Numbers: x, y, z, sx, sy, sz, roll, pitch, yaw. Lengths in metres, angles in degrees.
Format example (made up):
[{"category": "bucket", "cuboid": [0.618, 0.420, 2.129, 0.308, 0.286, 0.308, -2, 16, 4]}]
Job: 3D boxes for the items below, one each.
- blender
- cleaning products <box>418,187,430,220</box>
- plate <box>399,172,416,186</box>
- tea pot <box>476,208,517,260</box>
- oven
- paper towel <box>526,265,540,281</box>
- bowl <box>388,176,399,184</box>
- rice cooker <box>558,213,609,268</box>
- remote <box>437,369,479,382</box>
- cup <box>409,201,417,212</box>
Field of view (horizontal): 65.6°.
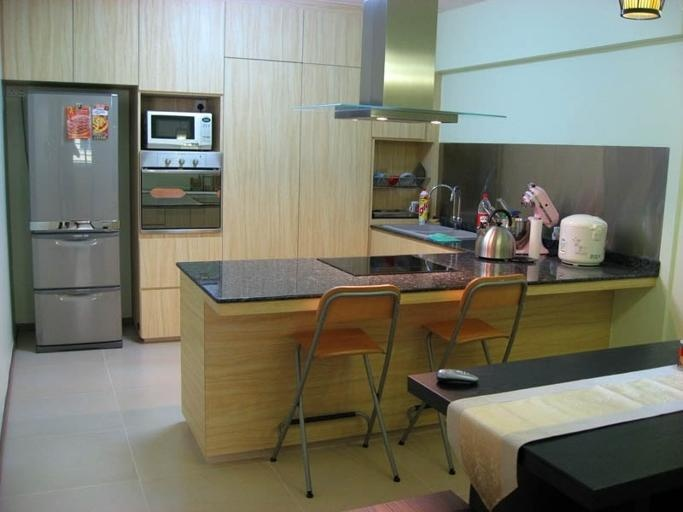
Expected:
[{"category": "blender", "cuboid": [1.505, -0.337, 4.144, 0.287, 0.609, 0.377, -2, 12, -26]}, {"category": "cleaning products", "cuboid": [0.880, -0.537, 5.662, 0.122, 0.336, 0.362, 3, 11, 9]}, {"category": "plate", "cuboid": [0.735, -0.835, 5.808, 0.199, 0.147, 0.080, -6, 13, -31]}, {"category": "tea pot", "cuboid": [1.154, -0.153, 3.925, 0.262, 0.402, 0.280, 6, 10, -1]}, {"category": "oven", "cuboid": [-1.454, -0.580, 4.806, 0.699, 0.711, 0.421, -2, 10, -30]}, {"category": "paper towel", "cuboid": [1.259, 0.114, 3.482, 0.069, 0.080, 0.070, -4, 13, -21]}, {"category": "bowl", "cuboid": [0.563, -0.823, 5.793, 0.129, 0.093, 0.063, -5, 13, -29]}, {"category": "rice cooker", "cuboid": [1.711, -0.112, 3.753, 0.295, 0.351, 0.162, 6, 12, 23]}, {"category": "remote", "cuboid": [0.440, 0.449, 2.008, 0.106, 0.029, 0.066, 2, 1, -5]}, {"category": "cup", "cuboid": [0.792, -0.542, 5.815, 0.085, 0.110, 0.200, 2, 11, 6]}]
